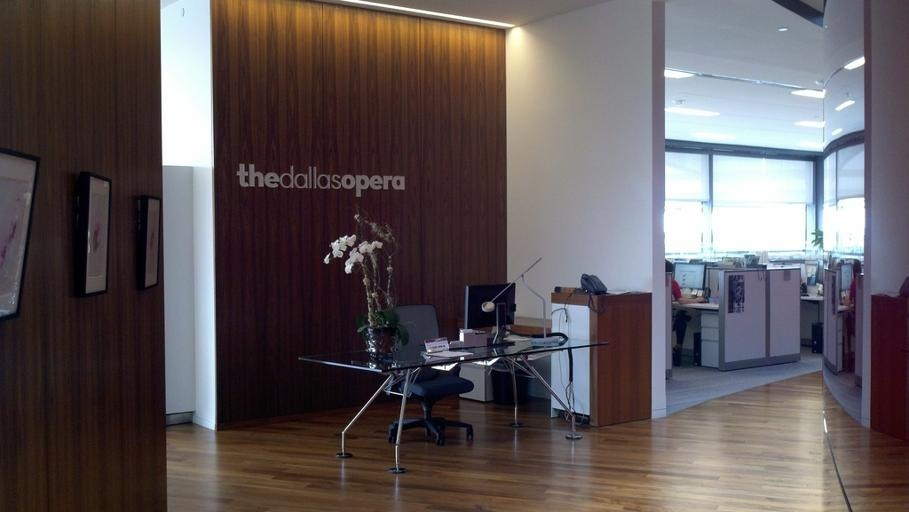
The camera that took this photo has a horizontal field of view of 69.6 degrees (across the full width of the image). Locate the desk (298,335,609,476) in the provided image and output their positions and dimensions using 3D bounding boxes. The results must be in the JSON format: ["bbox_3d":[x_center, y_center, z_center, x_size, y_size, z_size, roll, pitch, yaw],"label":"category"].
[{"bbox_3d":[-0.045,1.454,6.737,2.766,1.086,1.090,-4,7,-29],"label":"desk"}]

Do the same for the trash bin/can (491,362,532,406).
[{"bbox_3d":[0.668,1.610,8.300,0.539,0.554,0.485,0,-2,-8],"label":"trash bin/can"}]

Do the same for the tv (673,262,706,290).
[{"bbox_3d":[3.966,0.358,11.021,0.062,0.330,0.447,10,-3,-36],"label":"tv"}]

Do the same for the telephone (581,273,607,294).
[{"bbox_3d":[1.574,0.337,7.454,0.195,0.093,0.255,-2,18,-29],"label":"telephone"}]

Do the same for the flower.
[{"bbox_3d":[-1.133,0.159,7.912,0.845,1.356,0.541,-3,-2,-9],"label":"flower"}]

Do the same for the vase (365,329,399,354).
[{"bbox_3d":[-0.714,0.825,6.428,0.268,0.192,0.253,3,-5,-41],"label":"vase"}]

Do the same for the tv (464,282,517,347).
[{"bbox_3d":[0.376,0.646,7.059,0.627,0.611,0.215,-2,8,-18],"label":"tv"}]

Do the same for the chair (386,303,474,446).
[{"bbox_3d":[-0.314,1.253,6.986,0.907,1.368,0.866,1,-1,-30],"label":"chair"}]
